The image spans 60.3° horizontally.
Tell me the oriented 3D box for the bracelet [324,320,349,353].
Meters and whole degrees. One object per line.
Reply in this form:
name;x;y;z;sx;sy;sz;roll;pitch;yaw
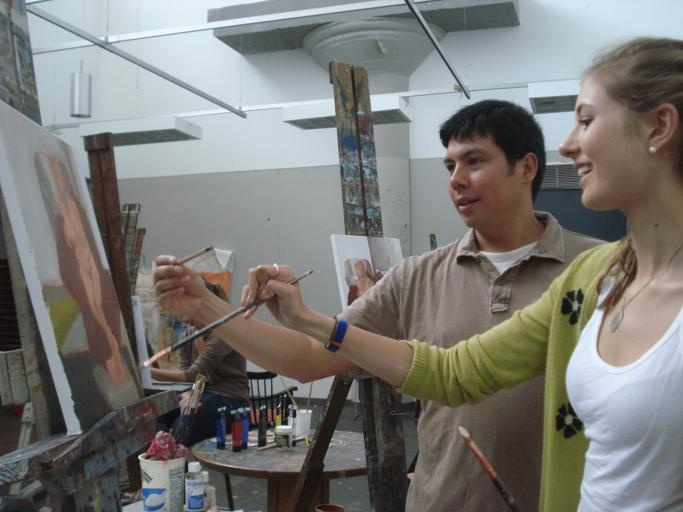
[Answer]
bracelet;-0.013;0.221;1.651;0.028;0.069;0.077;20;-29;5

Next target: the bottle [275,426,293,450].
bottle;-0.335;1.057;3.416;0.098;0.104;0.101;5;-12;-26

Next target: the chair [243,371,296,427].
chair;-0.839;1.402;6.421;0.332;0.438;0.319;-22;-3;22

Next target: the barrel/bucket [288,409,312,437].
barrel/bucket;-0.258;1.033;3.677;0.135;0.151;0.138;-2;0;0

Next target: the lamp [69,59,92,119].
lamp;-2.986;-1.845;6.754;0.222;0.561;0.217;-3;1;-6

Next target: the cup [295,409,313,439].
cup;-0.238;1.045;3.671;0.119;0.142;0.127;2;2;0

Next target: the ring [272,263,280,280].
ring;-0.200;0.048;1.794;0.020;0.047;0.028;-6;-27;1

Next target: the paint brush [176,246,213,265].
paint brush;-1.446;-0.004;5.882;0.527;0.097;0.071;-28;6;27
